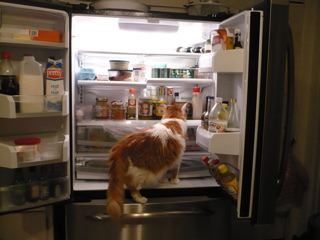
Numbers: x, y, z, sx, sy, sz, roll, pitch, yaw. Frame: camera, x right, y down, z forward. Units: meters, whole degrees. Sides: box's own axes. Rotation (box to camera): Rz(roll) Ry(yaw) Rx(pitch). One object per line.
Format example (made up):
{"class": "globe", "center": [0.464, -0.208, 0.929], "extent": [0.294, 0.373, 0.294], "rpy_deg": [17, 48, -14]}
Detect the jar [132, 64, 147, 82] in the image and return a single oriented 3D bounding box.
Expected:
{"class": "jar", "center": [-0.156, -0.344, 1.996], "extent": [0.116, 0.152, 0.087], "rpy_deg": [3, 19, 4]}

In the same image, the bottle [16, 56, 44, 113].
{"class": "bottle", "center": [-0.736, -0.207, 1.537], "extent": [0.129, 0.316, 0.148], "rpy_deg": [8, 10, 43]}

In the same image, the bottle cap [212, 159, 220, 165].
{"class": "bottle cap", "center": [0.397, 0.298, 1.927], "extent": [0.035, 0.027, 0.036], "rpy_deg": [-1, 5, 1]}

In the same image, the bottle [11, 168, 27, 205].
{"class": "bottle", "center": [-0.830, 0.377, 1.579], "extent": [0.072, 0.227, 0.072], "rpy_deg": [-5, -7, -1]}

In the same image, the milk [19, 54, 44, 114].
{"class": "milk", "center": [-0.712, -0.204, 1.522], "extent": [0.139, 0.327, 0.139], "rpy_deg": [-3, 11, -29]}

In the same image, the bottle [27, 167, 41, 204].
{"class": "bottle", "center": [-0.766, 0.375, 1.615], "extent": [0.071, 0.222, 0.071], "rpy_deg": [-2, -3, 0]}

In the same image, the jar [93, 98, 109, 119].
{"class": "jar", "center": [-0.427, -0.085, 1.960], "extent": [0.126, 0.183, 0.129], "rpy_deg": [0, 2, 0]}

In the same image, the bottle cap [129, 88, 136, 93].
{"class": "bottle cap", "center": [-0.204, -0.212, 1.960], "extent": [0.040, 0.027, 0.030], "rpy_deg": [1, 5, -6]}

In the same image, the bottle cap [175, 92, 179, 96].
{"class": "bottle cap", "center": [0.131, -0.194, 2.035], "extent": [0.027, 0.027, 0.019], "rpy_deg": [0, 3, -4]}

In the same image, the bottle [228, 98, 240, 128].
{"class": "bottle", "center": [0.508, -0.053, 1.845], "extent": [0.076, 0.191, 0.269], "rpy_deg": [1, 7, 14]}

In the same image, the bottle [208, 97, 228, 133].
{"class": "bottle", "center": [0.363, -0.031, 1.755], "extent": [0.152, 0.220, 0.139], "rpy_deg": [0, 6, 0]}

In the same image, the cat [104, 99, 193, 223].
{"class": "cat", "center": [-0.081, 0.236, 1.967], "extent": [0.764, 0.688, 0.354], "rpy_deg": [-18, 24, -39]}

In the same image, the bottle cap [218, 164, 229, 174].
{"class": "bottle cap", "center": [0.442, 0.331, 1.862], "extent": [0.053, 0.054, 0.022], "rpy_deg": [10, -13, 3]}

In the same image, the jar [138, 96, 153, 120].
{"class": "jar", "center": [-0.086, -0.092, 1.953], "extent": [0.137, 0.243, 0.146], "rpy_deg": [0, 4, 0]}

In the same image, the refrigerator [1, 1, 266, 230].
{"class": "refrigerator", "center": [-0.185, 0.009, 1.744], "extent": [1.604, 1.368, 0.848], "rpy_deg": [0, 3, -9]}

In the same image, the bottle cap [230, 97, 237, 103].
{"class": "bottle cap", "center": [0.497, -0.135, 1.830], "extent": [0.050, 0.036, 0.027], "rpy_deg": [-1, 2, -12]}

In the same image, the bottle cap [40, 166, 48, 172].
{"class": "bottle cap", "center": [-0.721, 0.300, 1.675], "extent": [0.043, 0.043, 0.031], "rpy_deg": [-1, 1, -15]}

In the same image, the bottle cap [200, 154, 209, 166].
{"class": "bottle cap", "center": [0.325, 0.291, 1.947], "extent": [0.049, 0.070, 0.023], "rpy_deg": [0, -5, -1]}

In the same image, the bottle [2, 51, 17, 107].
{"class": "bottle", "center": [-0.849, -0.258, 1.516], "extent": [0.073, 0.235, 0.108], "rpy_deg": [-2, 6, -15]}

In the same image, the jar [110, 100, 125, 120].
{"class": "jar", "center": [-0.305, -0.063, 1.942], "extent": [0.114, 0.159, 0.105], "rpy_deg": [0, -3, 0]}
